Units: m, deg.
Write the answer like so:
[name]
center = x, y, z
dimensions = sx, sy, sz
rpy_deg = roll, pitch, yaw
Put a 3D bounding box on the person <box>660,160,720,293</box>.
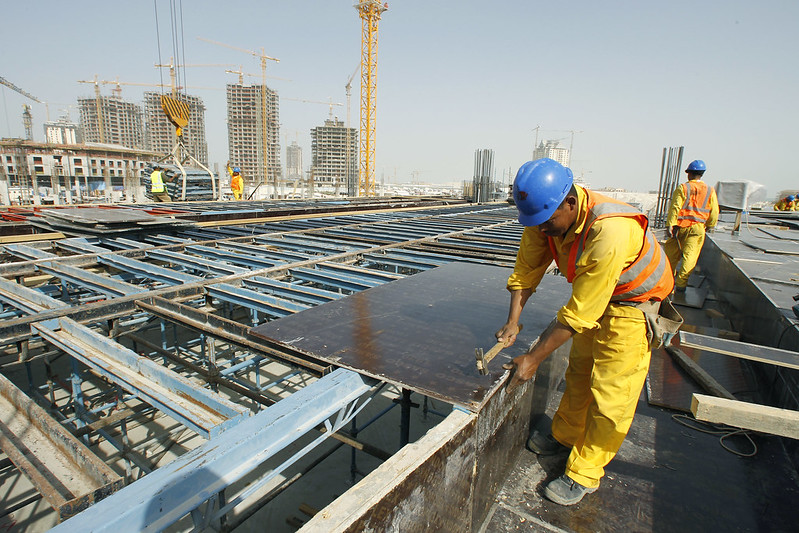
[person]
center = 5.050, -0.734, 9.426
dimensions = 1.293, 2.087, 0.724
rpy_deg = 8, 8, -23
